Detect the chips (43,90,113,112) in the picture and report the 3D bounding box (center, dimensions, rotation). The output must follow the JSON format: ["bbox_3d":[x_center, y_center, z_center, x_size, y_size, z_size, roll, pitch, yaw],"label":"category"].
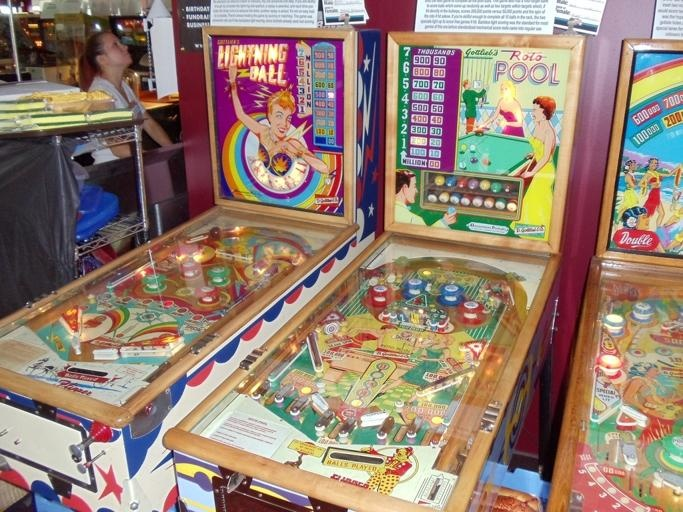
[{"bbox_3d":[-1.443,-0.844,2.607,0.347,0.085,0.260,-12,28,-28],"label":"chips"}]

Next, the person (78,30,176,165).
[{"bbox_3d":[-1.831,-1.331,3.963,0.626,0.947,1.119,-10,27,-23],"label":"person"}]
